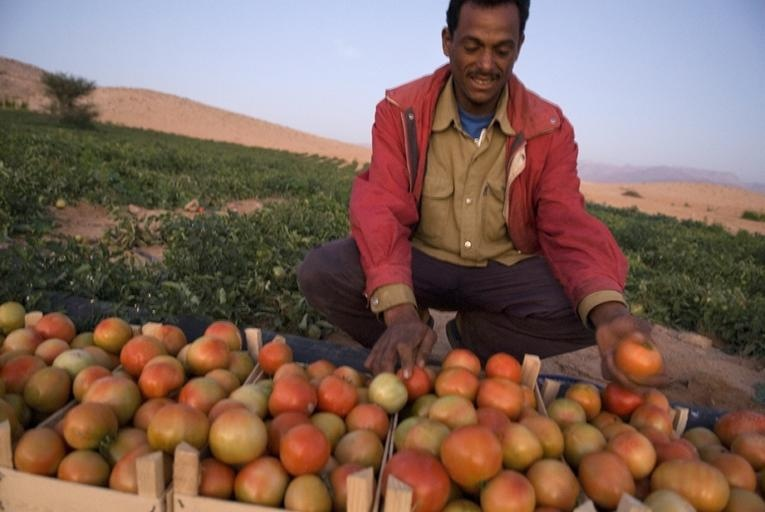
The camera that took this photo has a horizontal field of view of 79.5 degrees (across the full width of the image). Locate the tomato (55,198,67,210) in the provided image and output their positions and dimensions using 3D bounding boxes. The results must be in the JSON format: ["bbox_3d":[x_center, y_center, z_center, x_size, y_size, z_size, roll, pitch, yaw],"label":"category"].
[{"bbox_3d":[-3.797,-0.614,5.417,0.088,0.063,0.116,1,47,-21],"label":"tomato"}]

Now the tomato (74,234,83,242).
[{"bbox_3d":[-3.293,-0.196,5.001,0.078,0.088,0.098,12,9,12],"label":"tomato"}]
